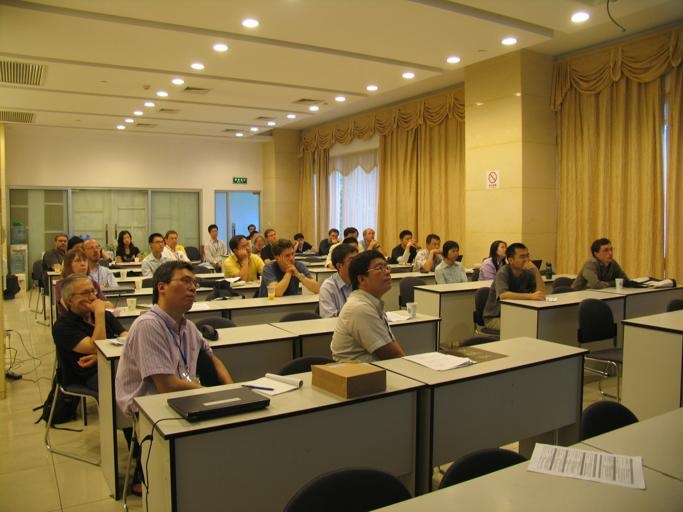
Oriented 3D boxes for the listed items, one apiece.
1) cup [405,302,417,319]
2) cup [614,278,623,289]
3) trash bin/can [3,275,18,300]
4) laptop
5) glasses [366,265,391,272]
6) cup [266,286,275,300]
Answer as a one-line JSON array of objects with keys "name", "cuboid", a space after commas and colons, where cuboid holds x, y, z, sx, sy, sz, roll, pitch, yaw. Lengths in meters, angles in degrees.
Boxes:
[{"name": "cup", "cuboid": [0.612, 0.467, 4.621, 0.105, 0.141, 0.116, -3, 2, 15]}, {"name": "cup", "cuboid": [3.118, 0.303, 5.971, 0.100, 0.123, 0.103, 0, 5, 0]}, {"name": "trash bin/can", "cuboid": [-6.680, 0.604, 10.736, 0.241, 0.457, 0.578, -4, 10, -26]}, {"name": "laptop", "cuboid": [-0.622, 0.729, 2.683, 0.487, 0.052, 0.281, -3, 11, -21]}, {"name": "glasses", "cuboid": [0.253, 0.081, 3.492, 0.070, 0.023, 0.069, 4, -11, -41]}, {"name": "cup", "cuboid": [-0.714, 0.369, 5.479, 0.106, 0.149, 0.105, 0, -6, 0]}]
